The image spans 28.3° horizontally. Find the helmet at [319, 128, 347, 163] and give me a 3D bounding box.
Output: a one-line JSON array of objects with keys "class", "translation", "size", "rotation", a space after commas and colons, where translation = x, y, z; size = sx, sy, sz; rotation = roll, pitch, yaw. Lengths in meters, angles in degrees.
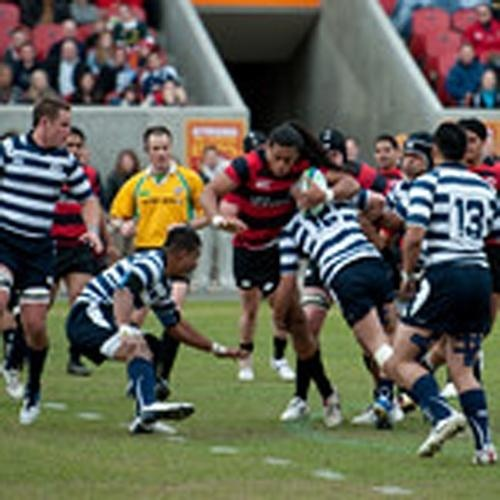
[{"class": "helmet", "translation": [0.412, -0.579, 5.614], "size": [0.137, 0.204, 0.203], "rotation": [-8, -16, 36]}]

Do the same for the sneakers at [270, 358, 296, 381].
[{"class": "sneakers", "translation": [0.203, 0.883, 7.215], "size": [0.085, 0.111, 0.244], "rotation": [-8, 9, -18]}]

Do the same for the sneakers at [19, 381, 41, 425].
[{"class": "sneakers", "translation": [-1.228, 0.876, 5.550], "size": [0.076, 0.092, 0.230], "rotation": [9, 33, -17]}]

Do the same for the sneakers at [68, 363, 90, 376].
[{"class": "sneakers", "translation": [-1.250, 0.896, 7.302], "size": [0.074, 0.074, 0.176], "rotation": [5, -9, -34]}]

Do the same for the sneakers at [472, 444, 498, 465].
[{"class": "sneakers", "translation": [1.063, 0.972, 4.670], "size": [0.058, 0.082, 0.163], "rotation": [-3, -2, 0]}]

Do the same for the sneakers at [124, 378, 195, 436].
[{"class": "sneakers", "translation": [-0.500, 0.861, 5.205], "size": [0.186, 0.263, 0.545], "rotation": [9, -28, -22]}]

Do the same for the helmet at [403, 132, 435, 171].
[{"class": "helmet", "translation": [0.967, -0.593, 5.963], "size": [0.169, 0.248, 0.229], "rotation": [3, -1, 9]}]

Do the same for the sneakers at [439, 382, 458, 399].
[{"class": "sneakers", "translation": [1.221, 0.920, 6.342], "size": [0.087, 0.128, 0.386], "rotation": [3, -1, 11]}]

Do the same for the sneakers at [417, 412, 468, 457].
[{"class": "sneakers", "translation": [0.897, 0.910, 4.798], "size": [0.085, 0.253, 0.115], "rotation": [44, 3, -27]}]
